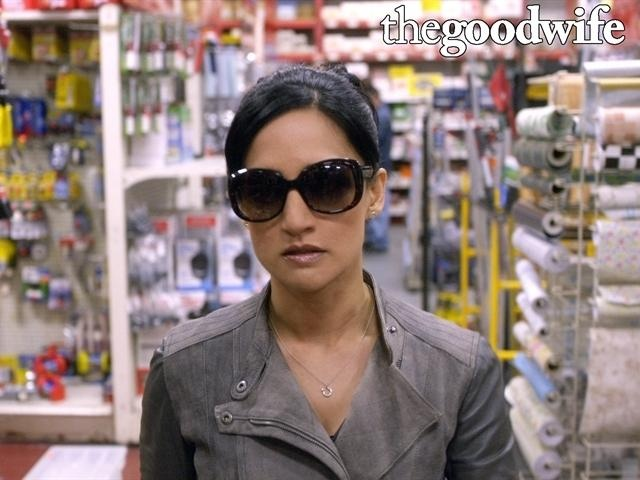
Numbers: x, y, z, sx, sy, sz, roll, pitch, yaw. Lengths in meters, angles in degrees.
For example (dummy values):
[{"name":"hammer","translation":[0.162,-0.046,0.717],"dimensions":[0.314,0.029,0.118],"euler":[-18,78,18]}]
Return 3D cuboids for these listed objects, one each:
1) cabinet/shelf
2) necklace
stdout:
[{"name":"cabinet/shelf","translation":[-0.058,-0.047,5.302],"dimensions":[2.216,1.645,0.783],"euler":[-1,4,-2]},{"name":"necklace","translation":[0.061,0.372,4.394],"dimensions":[0.258,0.397,0.090],"euler":[-5,-3,0]}]
